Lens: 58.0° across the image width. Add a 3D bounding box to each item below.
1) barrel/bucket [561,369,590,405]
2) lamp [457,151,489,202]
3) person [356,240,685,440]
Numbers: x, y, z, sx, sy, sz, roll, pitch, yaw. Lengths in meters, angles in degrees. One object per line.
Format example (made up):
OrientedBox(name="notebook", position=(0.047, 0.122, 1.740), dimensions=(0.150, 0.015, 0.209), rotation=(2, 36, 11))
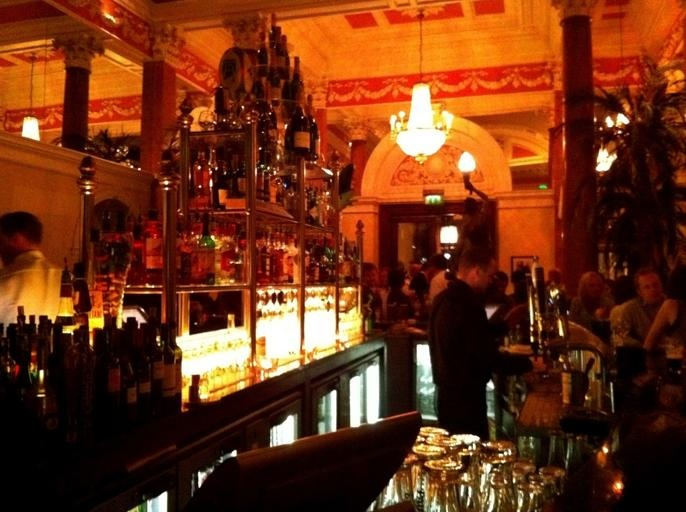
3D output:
OrientedBox(name="barrel/bucket", position=(0.887, 0.500, 2.351), dimensions=(0.099, 0.129, 0.209), rotation=(-3, -5, 21))
OrientedBox(name="lamp", position=(1.300, -0.847, 6.146), dimensions=(0.216, 0.157, 0.425), rotation=(-17, 10, 21))
OrientedBox(name="person", position=(0.975, 0.450, 5.431), dimensions=(1.816, 1.361, 1.030), rotation=(0, 0, 10))
